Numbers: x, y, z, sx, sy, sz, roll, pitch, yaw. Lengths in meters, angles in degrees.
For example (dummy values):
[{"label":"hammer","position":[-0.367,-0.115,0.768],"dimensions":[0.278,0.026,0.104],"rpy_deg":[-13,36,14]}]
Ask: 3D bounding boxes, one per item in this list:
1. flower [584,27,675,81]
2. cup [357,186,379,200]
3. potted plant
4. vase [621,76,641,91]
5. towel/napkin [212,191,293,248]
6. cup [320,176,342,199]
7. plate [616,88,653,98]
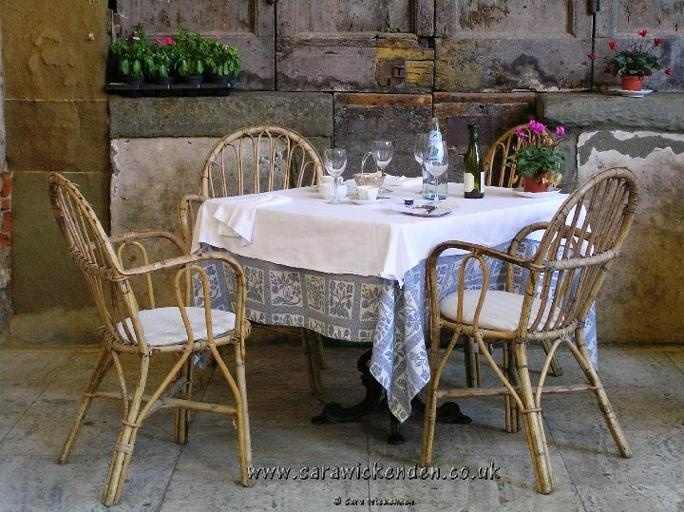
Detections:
[{"label":"flower","position":[1.679,-1.130,4.525],"dimensions":[0.369,0.227,0.373],"rpy_deg":[6,32,4]},{"label":"cup","position":[0.103,-0.274,3.420],"dimensions":[0.060,0.048,0.073],"rpy_deg":[8,13,35]},{"label":"potted plant","position":[-0.930,-1.034,4.373],"dimensions":[0.415,0.265,0.616],"rpy_deg":[3,6,15]},{"label":"vase","position":[1.621,-0.970,4.467],"dimensions":[0.091,0.061,0.091],"rpy_deg":[-2,7,-29]},{"label":"towel/napkin","position":[-0.381,-0.173,3.414],"dimensions":[0.229,0.108,0.245],"rpy_deg":[7,13,35]},{"label":"cup","position":[-0.054,-0.304,3.593],"dimensions":[0.073,0.083,0.116],"rpy_deg":[1,2,-15]},{"label":"plate","position":[1.659,-0.927,4.511],"dimensions":[0.200,0.041,0.358],"rpy_deg":[6,20,18]}]
